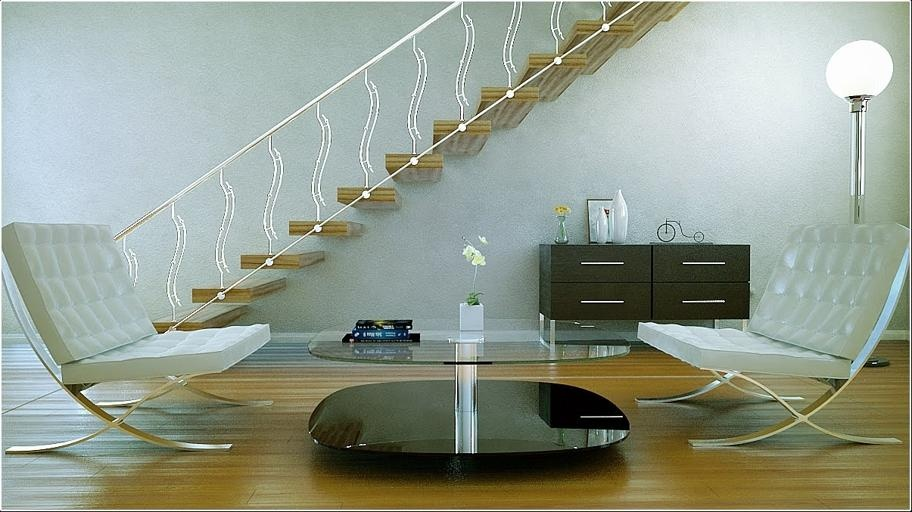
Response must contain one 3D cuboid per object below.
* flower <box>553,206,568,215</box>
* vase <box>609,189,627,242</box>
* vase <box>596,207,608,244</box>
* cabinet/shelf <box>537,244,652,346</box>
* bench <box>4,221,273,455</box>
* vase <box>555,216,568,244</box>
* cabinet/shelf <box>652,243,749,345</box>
[{"bbox_3d":[1.140,-0.498,6.929,0.125,0.052,0.121,6,15,39],"label":"flower"},{"bbox_3d":[1.734,-0.422,6.843,0.137,0.562,0.164,-3,6,-29],"label":"vase"},{"bbox_3d":[1.586,-0.330,6.927,0.123,0.371,0.287,2,5,25],"label":"vase"},{"bbox_3d":[1.396,0.348,6.439,1.516,0.971,0.693,0,-4,-2],"label":"cabinet/shelf"},{"bbox_3d":[-3.070,0.554,5.846,2.627,1.855,1.627,1,-1,0],"label":"bench"},{"bbox_3d":[1.151,-0.291,6.971,0.133,0.291,0.294,1,4,10],"label":"vase"},{"bbox_3d":[2.403,0.411,7.072,1.375,0.914,0.836,0,-2,-1],"label":"cabinet/shelf"}]
